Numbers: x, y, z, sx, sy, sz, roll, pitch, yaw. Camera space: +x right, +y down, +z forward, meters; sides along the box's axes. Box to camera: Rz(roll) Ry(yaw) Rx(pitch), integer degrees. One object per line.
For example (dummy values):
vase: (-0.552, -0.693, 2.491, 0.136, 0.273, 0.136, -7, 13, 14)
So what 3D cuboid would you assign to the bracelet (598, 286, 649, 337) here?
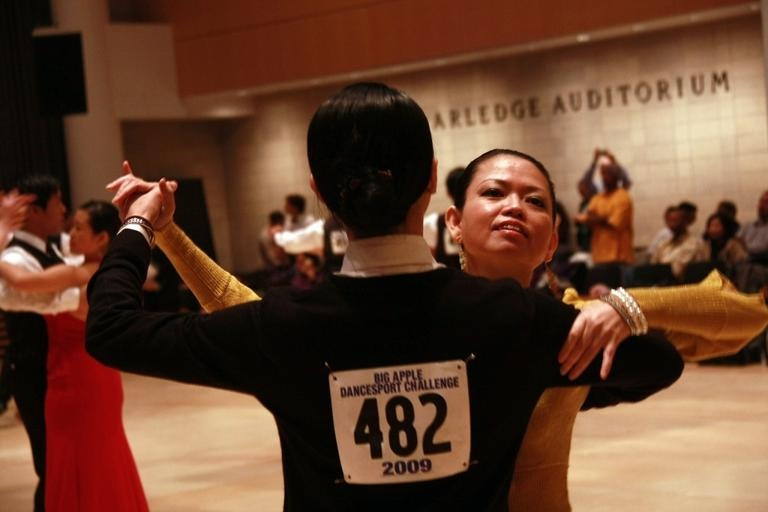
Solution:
bracelet: (0.672, 0.149, 2.005, 0.060, 0.122, 0.110, -41, -24, 10)
